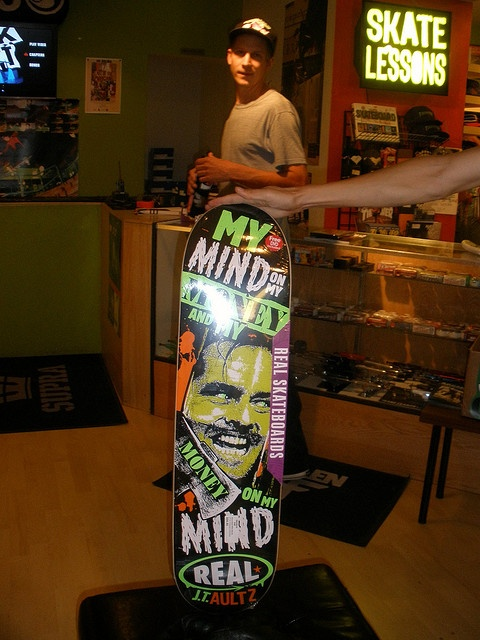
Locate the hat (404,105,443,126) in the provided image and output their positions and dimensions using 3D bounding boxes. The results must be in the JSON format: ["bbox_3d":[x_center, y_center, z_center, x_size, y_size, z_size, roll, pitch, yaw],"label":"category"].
[{"bbox_3d":[1.649,-1.823,4.520,0.297,0.149,0.210,-4,26,-2],"label":"hat"}]

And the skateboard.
[{"bbox_3d":[-0.025,0.239,1.461,0.283,1.129,0.163,1,6,2],"label":"skateboard"}]

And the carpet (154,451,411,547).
[{"bbox_3d":[0.177,0.654,1.809,0.471,0.022,0.321,9,15,32],"label":"carpet"}]
